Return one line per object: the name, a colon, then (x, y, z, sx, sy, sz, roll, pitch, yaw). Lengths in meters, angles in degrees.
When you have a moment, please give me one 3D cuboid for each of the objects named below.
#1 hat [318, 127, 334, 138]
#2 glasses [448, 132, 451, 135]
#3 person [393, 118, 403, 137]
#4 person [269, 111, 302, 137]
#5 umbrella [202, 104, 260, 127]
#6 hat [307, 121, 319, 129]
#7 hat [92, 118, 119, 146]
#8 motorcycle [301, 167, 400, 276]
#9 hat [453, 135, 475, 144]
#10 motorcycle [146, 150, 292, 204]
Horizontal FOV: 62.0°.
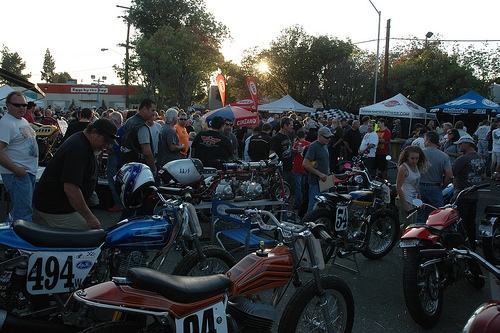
hat: (1.636, -0.737, 9.087, 0.254, 0.155, 0.194, 14, 21, 7)
glasses: (5.226, -0.845, 10.918, 0.080, 0.063, 0.081, 5, 20, 20)
person: (8.194, -2.109, 23.275, 0.414, 1.010, 2.535, 7, 15, 18)
person: (1.271, -1.545, 15.382, 0.844, 0.971, 1.505, 10, 16, 37)
umbrella: (-0.452, -1.773, 14.734, 1.345, 0.495, 1.414, 0, 4, -11)
hat: (2.333, -1.534, 15.579, 0.331, 0.247, 0.457, 2, 7, 4)
hat: (-1.970, -0.519, 5.862, 0.372, 0.219, 0.275, 30, 4, -11)
motorcycle: (1.837, 0.869, 7.653, 2.681, 1.803, 1.023, 6, 5, -39)
hat: (4.351, -0.541, 8.442, 0.326, 0.168, 0.221, 3, 2, 20)
motorcycle: (-0.899, 0.150, 8.343, 3.252, 1.361, 0.950, -2, 5, -23)
